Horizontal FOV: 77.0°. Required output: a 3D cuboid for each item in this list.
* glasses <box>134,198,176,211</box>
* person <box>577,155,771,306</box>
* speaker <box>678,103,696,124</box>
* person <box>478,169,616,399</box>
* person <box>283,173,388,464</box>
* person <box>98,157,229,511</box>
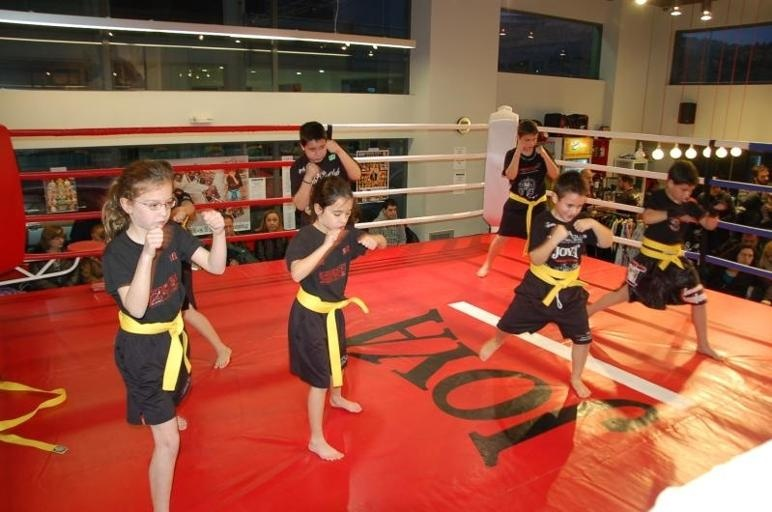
[{"bbox_3d":[-1.048,-0.247,2.278,0.089,0.048,0.196,7,19,27],"label":"glasses"},{"bbox_3d":[2.002,-0.047,3.463,0.578,1.441,1.157,-20,22,-30],"label":"person"},{"bbox_3d":[6.036,-2.850,9.703,0.310,0.426,0.180,8,19,28],"label":"speaker"},{"bbox_3d":[1.025,0.172,3.219,0.792,1.407,0.454,14,24,41],"label":"person"},{"bbox_3d":[-0.294,0.310,2.700,0.431,1.466,0.628,6,19,23],"label":"person"},{"bbox_3d":[-1.098,0.358,2.452,0.623,1.643,0.618,14,23,41],"label":"person"}]
